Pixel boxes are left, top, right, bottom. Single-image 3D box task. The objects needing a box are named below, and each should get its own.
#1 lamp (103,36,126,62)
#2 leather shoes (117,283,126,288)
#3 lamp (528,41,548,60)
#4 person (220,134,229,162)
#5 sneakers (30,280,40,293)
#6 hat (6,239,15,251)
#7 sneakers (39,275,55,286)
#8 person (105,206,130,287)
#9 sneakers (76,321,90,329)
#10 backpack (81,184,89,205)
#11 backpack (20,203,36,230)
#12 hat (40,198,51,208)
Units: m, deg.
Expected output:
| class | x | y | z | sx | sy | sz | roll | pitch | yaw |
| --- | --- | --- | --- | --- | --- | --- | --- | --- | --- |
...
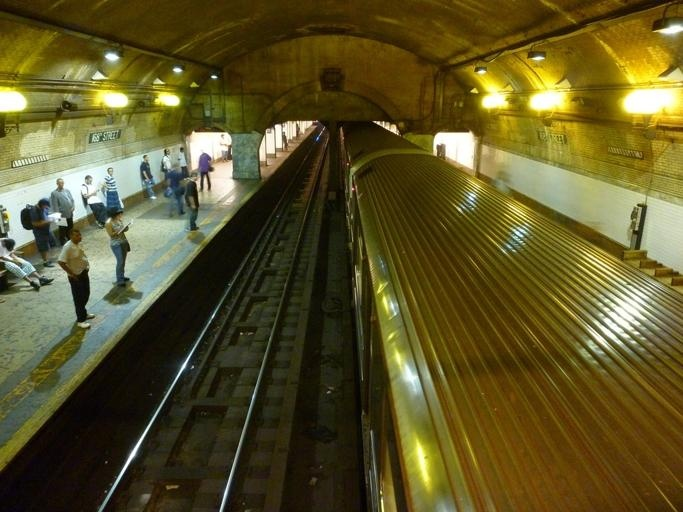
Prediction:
| class | x | y | z | sx | sy | sz | roll | pitch | yaw |
| --- | --- | --- | --- | --- | --- | --- | --- | --- | --- |
| lamp | -4.641 | -4.201 | 9.009 | 0.328 | 0.429 | 0.783 | -6 | 19 | -26 |
| leather shoes | -4.572 | 0.609 | 9.199 | 0.125 | 0.037 | 0.088 | -2 | 19 | -4 |
| lamp | 3.832 | -4.009 | 8.670 | 0.360 | 0.351 | 0.341 | -6 | 15 | -25 |
| person | -7.049 | -6.531 | 26.592 | 0.591 | 1.480 | 1.641 | -2 | 18 | -14 |
| sneakers | -6.192 | 0.593 | 8.944 | 0.322 | 0.133 | 0.109 | 30 | 21 | 25 |
| hat | -6.656 | -0.228 | 8.869 | 0.157 | 0.249 | 0.153 | -7 | 20 | -29 |
| sneakers | -6.182 | 0.493 | 9.214 | 0.100 | 0.142 | 0.311 | 24 | 24 | 39 |
| person | -4.574 | -0.226 | 9.113 | 0.365 | 1.642 | 1.145 | -6 | 19 | -26 |
| sneakers | -4.444 | 1.185 | 7.684 | 0.241 | 0.111 | 0.103 | 2 | 21 | -1 |
| backpack | -7.234 | -1.742 | 12.439 | 0.140 | 0.627 | 0.655 | -9 | 20 | -31 |
| backpack | -6.881 | -0.823 | 9.724 | 0.245 | 0.529 | 0.414 | -11 | 22 | -36 |
| hat | -6.596 | -1.167 | 9.797 | 0.205 | 0.226 | 0.241 | -10 | 21 | -36 |
